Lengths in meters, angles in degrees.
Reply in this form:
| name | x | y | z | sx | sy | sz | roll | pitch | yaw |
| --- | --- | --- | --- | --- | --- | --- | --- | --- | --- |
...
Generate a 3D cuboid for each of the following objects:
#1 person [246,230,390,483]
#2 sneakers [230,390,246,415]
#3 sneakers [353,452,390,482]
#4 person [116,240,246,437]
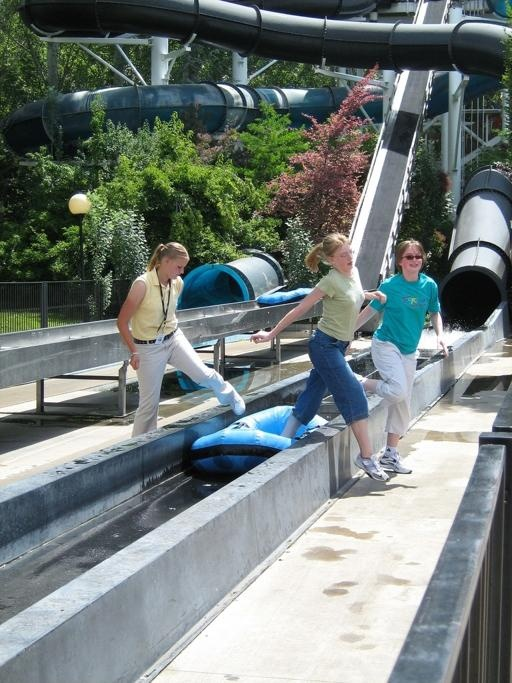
| name | x | y | z | sx | sy | sz | roll | pitch | yaw |
| --- | --- | --- | --- | --- | --- | --- | --- | --- | --- |
| person | 0.468 | 0.137 | 4.619 | 0.865 | 1.710 | 0.677 | -1 | 4 | -2 |
| sneakers | -0.151 | 0.488 | 5.398 | 0.080 | 0.181 | 0.106 | -25 | 6 | 17 |
| sneakers | 0.768 | 0.849 | 4.665 | 0.287 | 0.127 | 0.116 | 36 | 22 | 0 |
| person | -0.660 | -0.003 | 5.113 | 0.489 | 1.416 | 0.979 | 4 | 6 | 44 |
